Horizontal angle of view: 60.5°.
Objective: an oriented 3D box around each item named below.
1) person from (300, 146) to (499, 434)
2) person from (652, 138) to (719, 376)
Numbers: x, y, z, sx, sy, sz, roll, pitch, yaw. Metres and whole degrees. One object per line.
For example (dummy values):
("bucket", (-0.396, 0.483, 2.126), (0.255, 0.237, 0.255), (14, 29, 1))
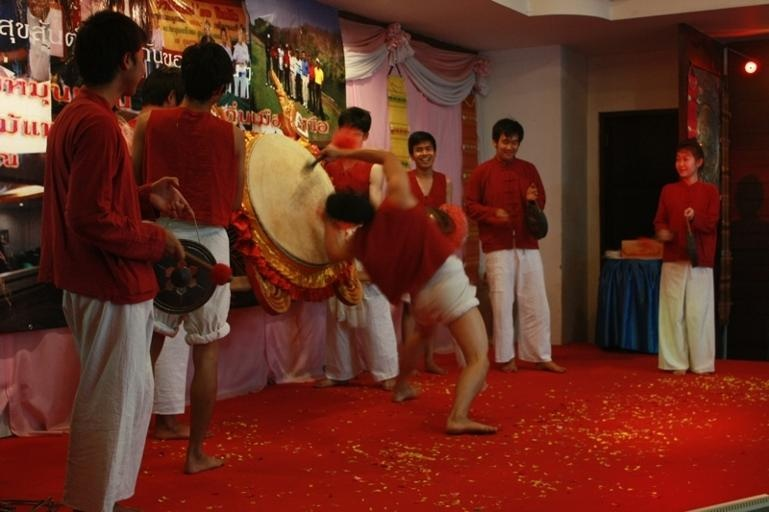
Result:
("person", (0.073, 0.309, 4.888), (1.233, 2.338, 1.210), (-14, 19, -3))
("person", (2.816, -0.005, 6.140), (0.542, 2.169, 0.413), (0, 2, 22))
